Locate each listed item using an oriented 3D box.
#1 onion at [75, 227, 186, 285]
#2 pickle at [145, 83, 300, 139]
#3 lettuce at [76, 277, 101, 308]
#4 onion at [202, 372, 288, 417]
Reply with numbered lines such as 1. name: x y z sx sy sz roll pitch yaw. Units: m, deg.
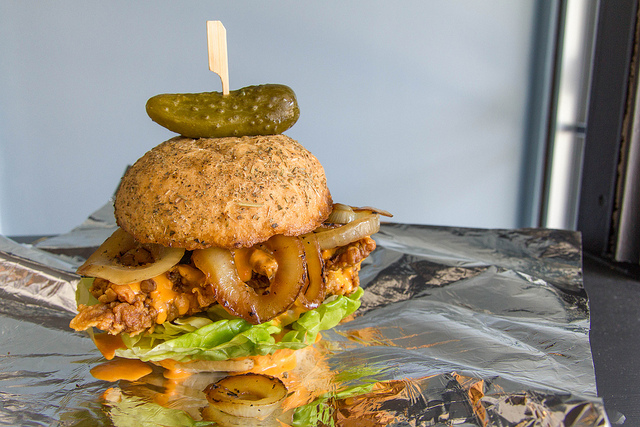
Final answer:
1. onion: -1.187 0.289 3.978 0.449 0.160 0.443 32 48 31
2. pickle: -0.605 -0.646 4.079 0.936 0.336 0.206 -2 9 -11
3. lettuce: -1.525 0.512 4.247 0.200 0.199 0.049 -6 -9 35
4. onion: -0.443 1.091 3.980 0.466 0.205 0.308 7 19 28
